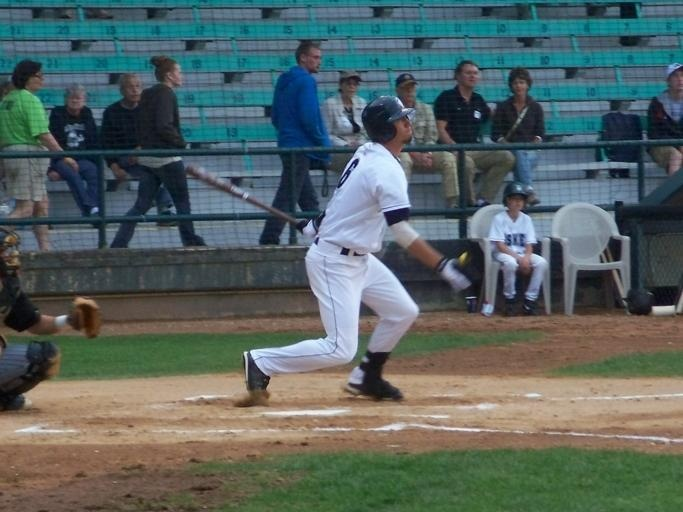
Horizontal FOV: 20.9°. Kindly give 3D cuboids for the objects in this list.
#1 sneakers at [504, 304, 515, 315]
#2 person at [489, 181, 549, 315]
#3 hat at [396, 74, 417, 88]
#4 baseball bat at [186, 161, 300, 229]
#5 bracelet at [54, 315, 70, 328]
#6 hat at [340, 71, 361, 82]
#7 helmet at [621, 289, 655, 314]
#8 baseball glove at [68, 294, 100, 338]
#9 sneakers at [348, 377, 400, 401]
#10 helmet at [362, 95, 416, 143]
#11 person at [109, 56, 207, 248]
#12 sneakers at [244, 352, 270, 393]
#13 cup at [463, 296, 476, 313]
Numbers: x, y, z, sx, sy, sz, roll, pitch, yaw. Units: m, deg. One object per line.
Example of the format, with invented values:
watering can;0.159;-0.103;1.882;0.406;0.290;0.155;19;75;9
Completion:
sneakers;2.067;0.667;22.661;0.159;0.143;0.354;0;-1;-6
person;2.181;-0.093;22.812;0.612;1.611;0.588;-4;6;-18
hat;0.799;-2.230;23.263;0.208;0.126;0.260;-3;-7;-22
baseball bat;-1.190;-0.726;22.398;1.721;0.171;0.182;26;28;1
bracelet;-2.817;0.683;18.985;0.142;0.117;0.134;-3;8;-32
hat;0.109;-2.248;23.035;0.233;0.116;0.250;-2;5;0
helmet;3.650;0.579;22.710;0.387;0.249;0.253;-2;11;-16
baseball glove;-2.594;0.641;18.909;0.336;0.433;0.177;-3;6;-5
sneakers;0.377;1.427;19.484;0.640;0.220;0.197;2;3;9
helmet;0.466;-1.445;19.257;0.606;0.383;0.430;-4;10;6
person;-2.186;-1.248;22.440;1.006;2.338;0.454;-3;6;-3
sneakers;-0.864;1.224;19.112;0.245;0.441;0.167;-7;0;-2
cup;1.611;0.609;22.909;0.201;0.164;0.182;0;-2;2
